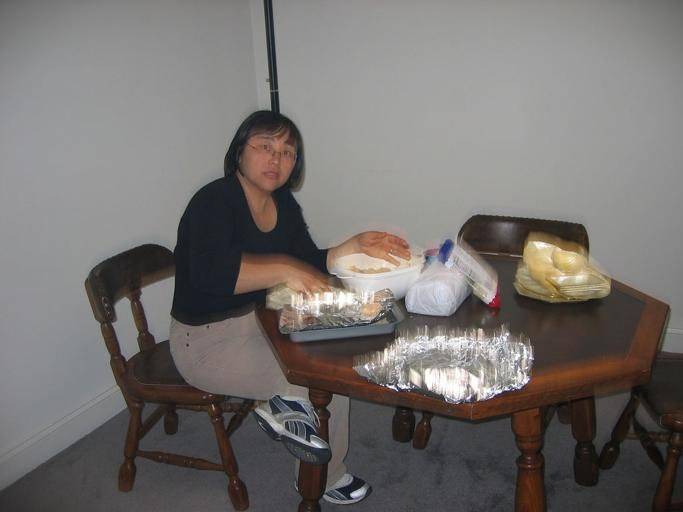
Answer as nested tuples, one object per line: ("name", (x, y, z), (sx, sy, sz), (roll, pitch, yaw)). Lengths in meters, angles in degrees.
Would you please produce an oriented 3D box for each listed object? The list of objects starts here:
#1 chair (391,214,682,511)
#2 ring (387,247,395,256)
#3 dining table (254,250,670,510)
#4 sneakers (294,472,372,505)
("chair", (0.731, 0.344, 2.193), (1.089, 0.780, 1.130), (-4, 24, 8))
("ring", (0.194, -0.016, 2.229), (0.021, 0.010, 0.030), (15, 20, 1))
("dining table", (0.606, 0.340, 2.043), (0.917, 0.634, 0.971), (0, 16, 8))
("sneakers", (-0.040, 0.948, 2.417), (0.330, 0.171, 0.141), (-2, 13, 3))
